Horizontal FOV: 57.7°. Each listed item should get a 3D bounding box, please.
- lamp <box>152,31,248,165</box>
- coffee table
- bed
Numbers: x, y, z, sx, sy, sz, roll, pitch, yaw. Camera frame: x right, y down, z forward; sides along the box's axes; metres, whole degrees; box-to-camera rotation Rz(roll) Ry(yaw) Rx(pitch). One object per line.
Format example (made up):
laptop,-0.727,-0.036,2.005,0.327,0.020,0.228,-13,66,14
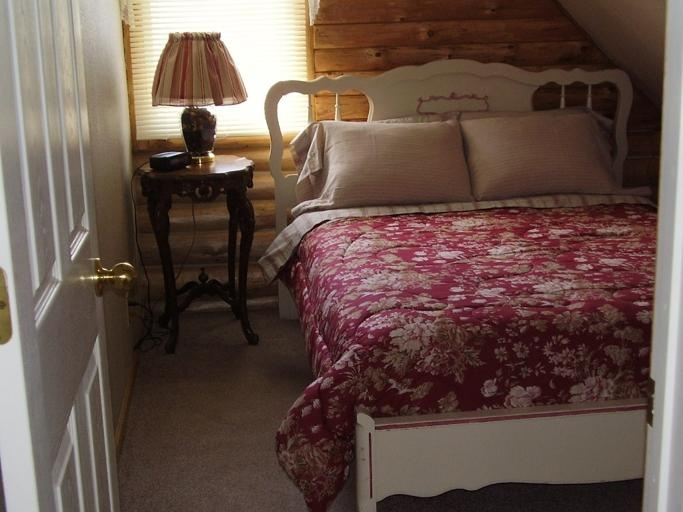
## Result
lamp,-0.651,-0.840,3.198,0.627,0.749,0.562,-6,22,-12
coffee table,-0.714,-0.032,3.181,0.617,0.801,0.588,-6,8,-25
bed,0.407,0.060,2.285,1.442,0.945,1.382,-2,33,-4
